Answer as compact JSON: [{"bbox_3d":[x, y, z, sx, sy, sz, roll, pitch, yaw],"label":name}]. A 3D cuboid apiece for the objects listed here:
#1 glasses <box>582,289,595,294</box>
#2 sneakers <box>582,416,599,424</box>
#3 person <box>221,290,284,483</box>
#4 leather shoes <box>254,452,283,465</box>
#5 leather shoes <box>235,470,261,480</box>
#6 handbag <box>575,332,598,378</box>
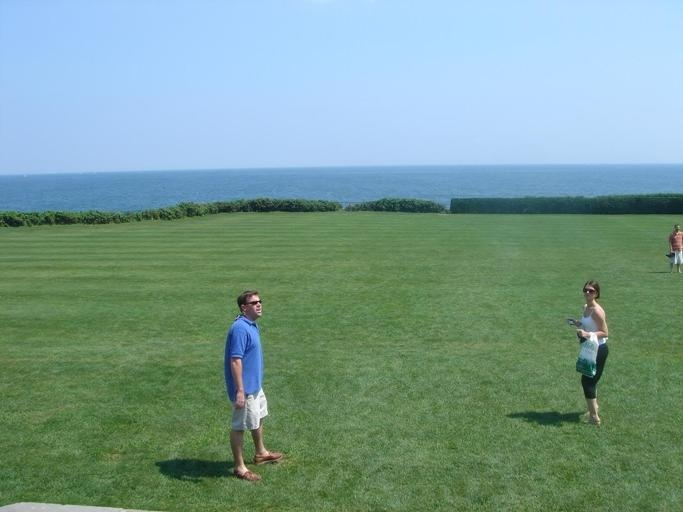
[{"bbox_3d":[4.267,0.593,12.272,0.182,0.102,0.138,5,11,27],"label":"glasses"},{"bbox_3d":[4.284,2.828,12.225,0.119,0.126,0.292,-2,8,-30],"label":"sneakers"},{"bbox_3d":[-1.430,1.957,10.990,0.715,2.827,0.857,-2,10,-7],"label":"person"},{"bbox_3d":[-1.171,3.212,11.250,0.365,0.135,0.182,-1,-2,-7],"label":"leather shoes"},{"bbox_3d":[-1.445,3.359,10.865,0.272,0.107,0.158,0,-1,0],"label":"leather shoes"},{"bbox_3d":[4.234,1.715,12.242,0.338,0.750,0.256,4,11,23],"label":"handbag"}]
